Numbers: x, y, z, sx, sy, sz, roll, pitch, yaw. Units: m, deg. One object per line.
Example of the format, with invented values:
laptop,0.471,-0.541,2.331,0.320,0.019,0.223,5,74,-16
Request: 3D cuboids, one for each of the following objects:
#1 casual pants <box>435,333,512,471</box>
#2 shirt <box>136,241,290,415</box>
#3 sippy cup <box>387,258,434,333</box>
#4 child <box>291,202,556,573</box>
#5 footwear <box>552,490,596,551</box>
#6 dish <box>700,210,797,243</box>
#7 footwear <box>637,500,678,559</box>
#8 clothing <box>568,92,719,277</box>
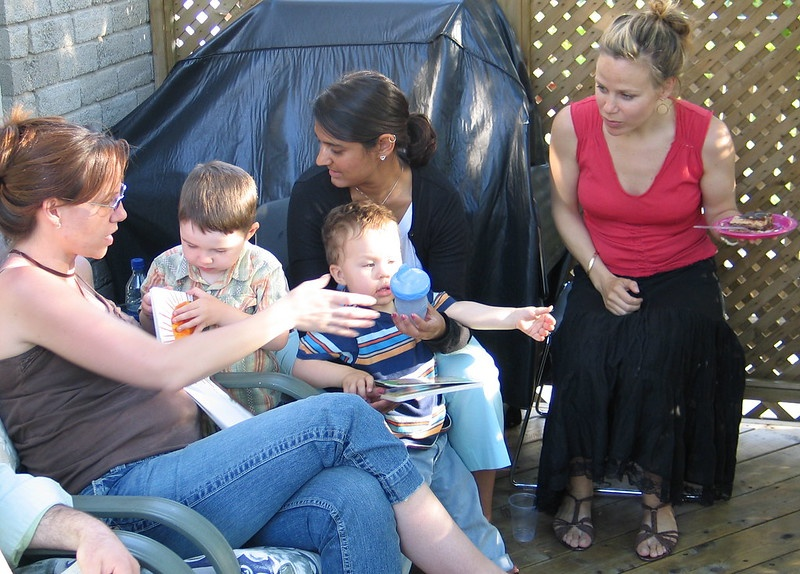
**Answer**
casual pants,0.299,0.476,2.621,0.257,0.523,0.159,-7,7,-3
shirt,-0.747,0.231,2.663,0.572,0.793,0.467,0,12,-18
sippy cup,0.025,0.009,2.411,0.152,0.237,0.157,-1,32,1
child,0.082,0.373,2.487,0.754,1.124,1.025,-23,43,-28
footwear,0.777,1.025,2.968,0.108,0.119,0.306,2,22,11
dish,1.520,-0.251,2.836,0.425,0.120,0.221,-5,8,-10
footwear,1.117,1.042,2.886,0.111,0.130,0.315,-4,26,23
clothing,1.117,-0.462,3.010,0.592,0.753,0.426,6,42,22
